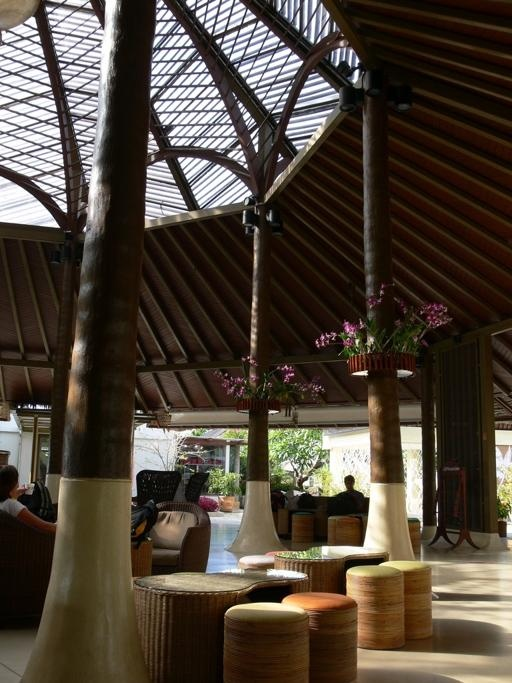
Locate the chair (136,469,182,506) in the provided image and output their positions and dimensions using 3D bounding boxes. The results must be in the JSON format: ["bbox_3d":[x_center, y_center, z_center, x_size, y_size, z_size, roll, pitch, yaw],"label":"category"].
[{"bbox_3d":[-1.230,1.816,7.325,0.537,0.425,0.441,-1,-7,-4],"label":"chair"}]

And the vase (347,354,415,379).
[{"bbox_3d":[0.962,0.181,4.553,0.501,0.167,0.370,-3,-7,9],"label":"vase"}]

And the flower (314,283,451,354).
[{"bbox_3d":[1.630,-0.347,7.258,0.877,0.521,1.424,-5,14,8],"label":"flower"}]
